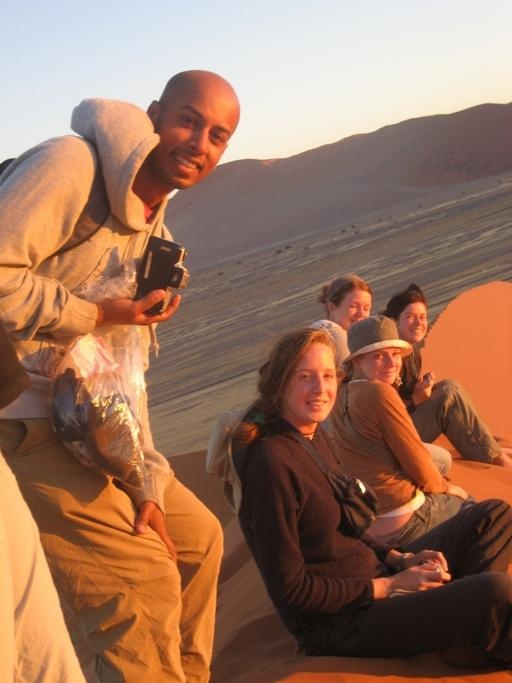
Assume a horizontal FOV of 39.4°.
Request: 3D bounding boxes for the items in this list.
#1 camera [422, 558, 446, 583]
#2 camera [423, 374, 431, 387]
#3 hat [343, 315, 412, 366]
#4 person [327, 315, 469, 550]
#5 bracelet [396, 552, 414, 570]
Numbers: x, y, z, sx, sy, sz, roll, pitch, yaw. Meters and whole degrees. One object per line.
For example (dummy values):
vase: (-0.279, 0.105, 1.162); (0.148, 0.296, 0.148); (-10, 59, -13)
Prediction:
camera: (0.697, 0.906, 2.816); (0.084, 0.081, 0.041); (-10, -25, -33)
camera: (1.266, 0.293, 5.332); (0.037, 0.055, 0.075); (8, -36, -11)
hat: (0.658, -0.011, 3.976); (0.310, 0.144, 0.267); (-13, 4, 30)
person: (0.856, 0.460, 3.980); (1.001, 1.127, 0.803); (-5, 6, 3)
bracelet: (0.629, 0.925, 3.015); (0.075, 0.051, 0.029); (-28, -11, -42)
